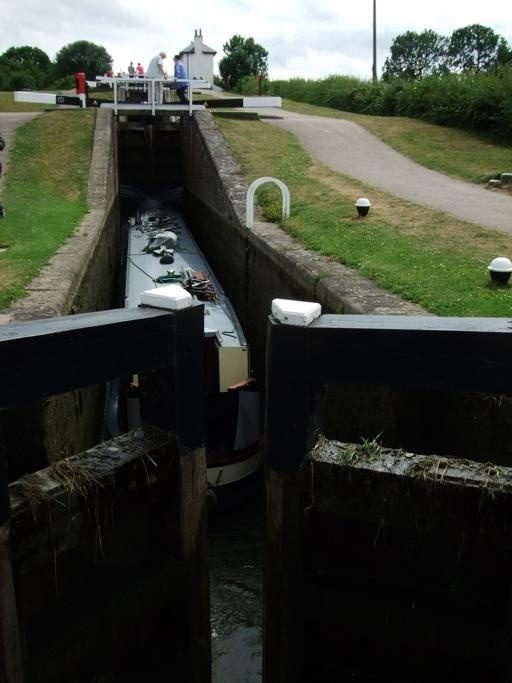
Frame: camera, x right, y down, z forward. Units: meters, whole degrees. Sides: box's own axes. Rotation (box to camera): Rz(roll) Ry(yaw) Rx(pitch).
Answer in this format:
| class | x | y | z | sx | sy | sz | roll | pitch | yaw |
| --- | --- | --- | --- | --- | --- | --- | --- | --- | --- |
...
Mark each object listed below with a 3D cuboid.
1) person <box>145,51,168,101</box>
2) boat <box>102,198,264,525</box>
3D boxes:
| class | x | y | z | sx | sy | sz | roll | pitch | yaw |
| --- | --- | --- | --- | --- | --- | --- | --- | --- | --- |
| person | -2.474 | -7.155 | 16.418 | 0.498 | 1.324 | 0.884 | 0 | 16 | -9 |
| boat | -0.996 | -0.236 | 11.097 | 1.164 | 2.362 | 7.509 | 5 | 22 | -9 |
